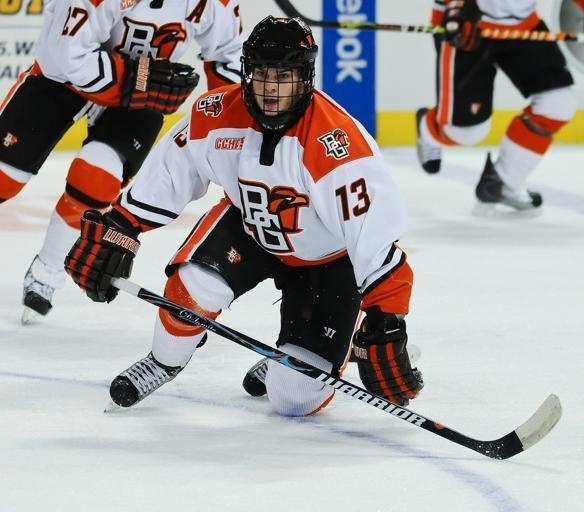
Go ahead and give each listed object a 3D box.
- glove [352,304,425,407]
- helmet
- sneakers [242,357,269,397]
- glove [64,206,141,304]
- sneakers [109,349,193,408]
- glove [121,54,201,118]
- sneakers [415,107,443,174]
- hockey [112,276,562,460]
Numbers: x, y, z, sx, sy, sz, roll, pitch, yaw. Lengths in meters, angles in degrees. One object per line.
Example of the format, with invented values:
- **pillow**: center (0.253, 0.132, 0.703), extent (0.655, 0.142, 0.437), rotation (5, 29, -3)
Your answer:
- **glove**: center (0.247, 0.248, 1.704), extent (0.106, 0.185, 0.234), rotation (38, 36, -33)
- **helmet**: center (-0.024, -0.461, 1.743), extent (0.182, 0.291, 0.221), rotation (7, 13, 25)
- **sneakers**: center (-0.082, 0.338, 1.956), extent (0.051, 0.049, 0.125), rotation (6, 24, 15)
- **glove**: center (-0.474, 0.003, 1.833), extent (0.193, 0.232, 0.123), rotation (28, 4, 18)
- **sneakers**: center (-0.383, 0.325, 1.796), extent (0.255, 0.072, 0.107), rotation (-34, 2, -30)
- **glove**: center (-0.458, -0.592, 2.440), extent (0.251, 0.195, 0.089), rotation (2, 37, -12)
- **sneakers**: center (0.947, -0.760, 4.840), extent (0.204, 0.510, 0.213), rotation (-11, 25, 10)
- **hockey**: center (0.056, 0.229, 1.666), extent (1.097, 0.117, 0.134), rotation (21, 52, 8)
